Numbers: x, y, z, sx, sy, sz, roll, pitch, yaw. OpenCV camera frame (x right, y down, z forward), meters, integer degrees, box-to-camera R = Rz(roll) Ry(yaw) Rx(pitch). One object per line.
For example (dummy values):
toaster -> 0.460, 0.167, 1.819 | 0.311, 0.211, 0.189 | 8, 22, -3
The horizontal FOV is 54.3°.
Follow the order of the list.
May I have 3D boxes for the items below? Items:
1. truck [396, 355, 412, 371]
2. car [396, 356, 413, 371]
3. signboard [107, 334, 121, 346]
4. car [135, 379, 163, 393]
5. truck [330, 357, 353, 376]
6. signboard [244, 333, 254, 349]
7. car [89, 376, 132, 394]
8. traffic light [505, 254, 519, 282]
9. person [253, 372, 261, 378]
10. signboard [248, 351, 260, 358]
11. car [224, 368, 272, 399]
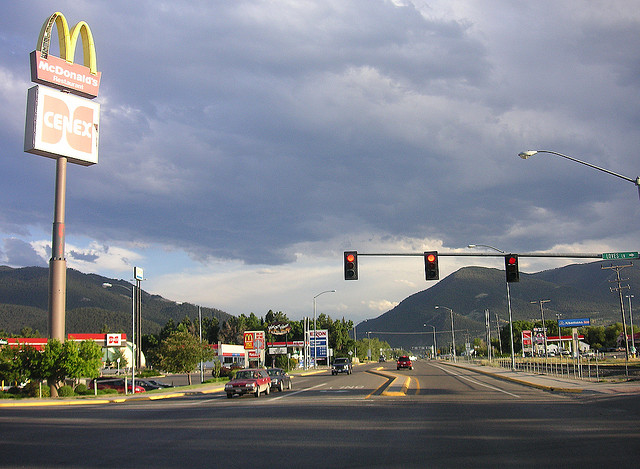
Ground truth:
truck -> 10.815, 16.304, 79.965 | 1.254, 1.298, 2.315 | -1, -18, 3
car -> 10.836, 16.367, 79.821 | 1.709, 1.659, 1.947 | -3, -14, 9
signboard -> -27.248, 13.852, 82.185 | 1.553, 1.634, 1.206 | 0, -5, -7
car -> -15.243, 13.164, 54.385 | 1.692, 0.884, 0.982 | -5, -9, 17
truck -> 2.658, 15.257, 72.706 | 2.178, 1.896, 2.643 | -1, -14, -4
signboard -> -8.011, 12.080, 71.241 | 0.999, 1.887, 1.365 | 0, -13, -4
car -> -17.574, 12.549, 52.366 | 3.251, 1.432, 6.913 | 5, -16, -26
traffic light -> 11.472, 1.941, 37.033 | 0.698, 1.549, 0.875 | -6, -14, 19
person -> -4.078, 9.002, 40.246 | 0.443, 0.385, 0.734 | 0, -14, -7
signboard -> -7.556, 13.451, 70.536 | 1.465, 0.687, 0.407 | -10, -15, 29
car -> -4.616, 9.465, 39.854 | 2.448, 1.856, 2.982 | -3, -14, 5
